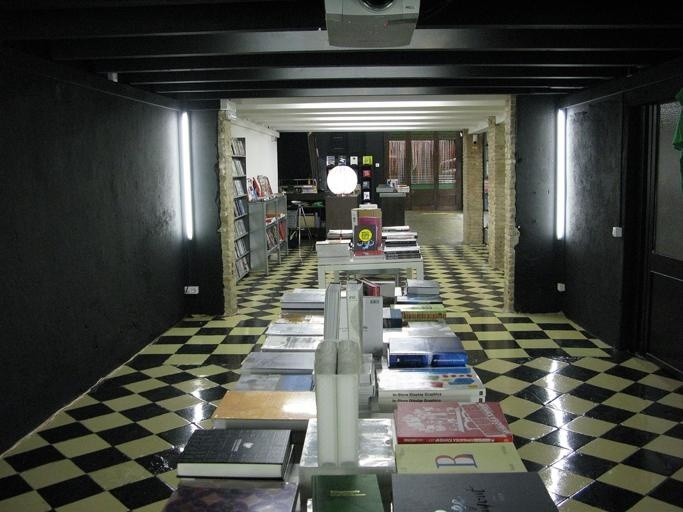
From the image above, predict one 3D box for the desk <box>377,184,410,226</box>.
[{"bbox_3d":[1.291,-1.154,12.021,0.759,1.016,0.646,-2,1,-17],"label":"desk"}]
